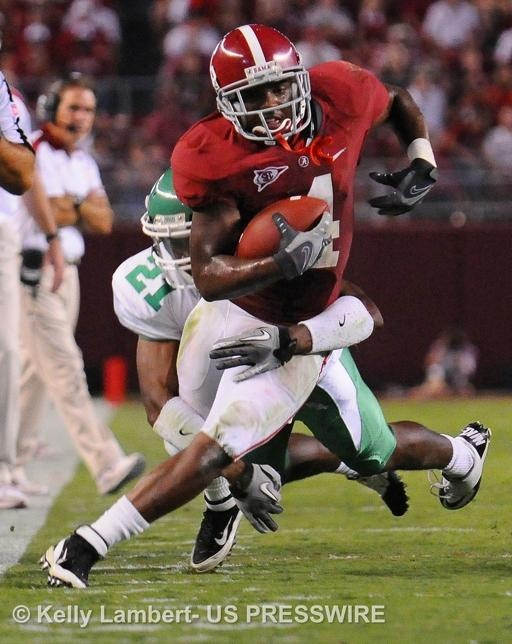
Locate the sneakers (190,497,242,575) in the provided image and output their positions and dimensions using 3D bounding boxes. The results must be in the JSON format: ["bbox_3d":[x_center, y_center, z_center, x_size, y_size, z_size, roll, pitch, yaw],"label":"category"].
[{"bbox_3d":[-0.116,0.612,2.238,0.089,0.087,0.236,1,30,24],"label":"sneakers"}]

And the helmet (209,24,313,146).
[{"bbox_3d":[-0.006,-0.632,2.029,0.283,0.257,0.323,-14,31,-11],"label":"helmet"}]

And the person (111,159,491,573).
[{"bbox_3d":[0.063,0.301,2.400,0.705,1.473,0.772,-22,19,4],"label":"person"}]

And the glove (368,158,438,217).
[{"bbox_3d":[0.446,-0.384,2.276,0.222,0.069,0.139,-24,71,-3],"label":"glove"}]

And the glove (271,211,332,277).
[{"bbox_3d":[0.097,-0.217,1.910,0.148,0.083,0.220,2,35,-16],"label":"glove"}]

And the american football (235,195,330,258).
[{"bbox_3d":[0.044,-0.241,1.915,0.229,0.098,0.127,-23,15,-2],"label":"american football"}]

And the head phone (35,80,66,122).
[{"bbox_3d":[-0.951,-0.992,3.516,0.083,0.186,0.154,24,19,15],"label":"head phone"}]

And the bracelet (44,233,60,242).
[{"bbox_3d":[-0.857,-0.357,3.288,0.049,0.028,0.045,2,1,20],"label":"bracelet"}]
